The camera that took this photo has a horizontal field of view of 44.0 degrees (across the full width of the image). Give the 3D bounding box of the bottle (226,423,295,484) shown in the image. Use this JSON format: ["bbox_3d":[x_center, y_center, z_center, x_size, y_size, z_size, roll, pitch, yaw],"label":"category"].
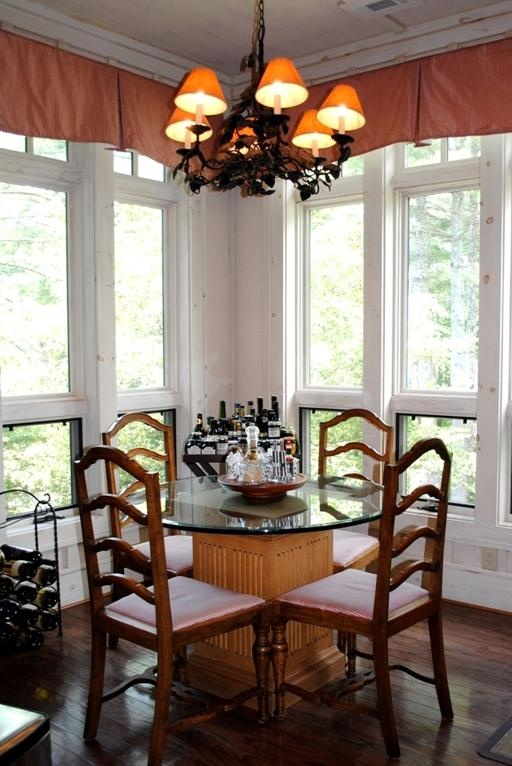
[{"bbox_3d":[0.011,0.220,2.243,0.230,0.218,0.227,0,4,16],"label":"bottle"}]

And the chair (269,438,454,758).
[{"bbox_3d":[0.336,0.639,2.052,0.555,0.923,0.762,-1,0,22],"label":"chair"}]
